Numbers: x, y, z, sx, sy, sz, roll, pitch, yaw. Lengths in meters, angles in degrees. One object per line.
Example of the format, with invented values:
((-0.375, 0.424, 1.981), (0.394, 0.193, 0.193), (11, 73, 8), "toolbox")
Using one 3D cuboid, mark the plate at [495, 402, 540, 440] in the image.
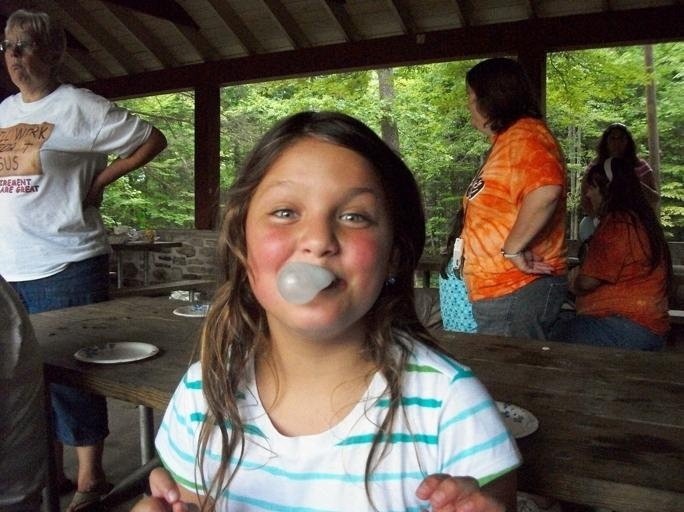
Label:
((0.429, 0.400, 1.284), (0.134, 0.021, 0.139), (-1, 12, -7), "plate")
